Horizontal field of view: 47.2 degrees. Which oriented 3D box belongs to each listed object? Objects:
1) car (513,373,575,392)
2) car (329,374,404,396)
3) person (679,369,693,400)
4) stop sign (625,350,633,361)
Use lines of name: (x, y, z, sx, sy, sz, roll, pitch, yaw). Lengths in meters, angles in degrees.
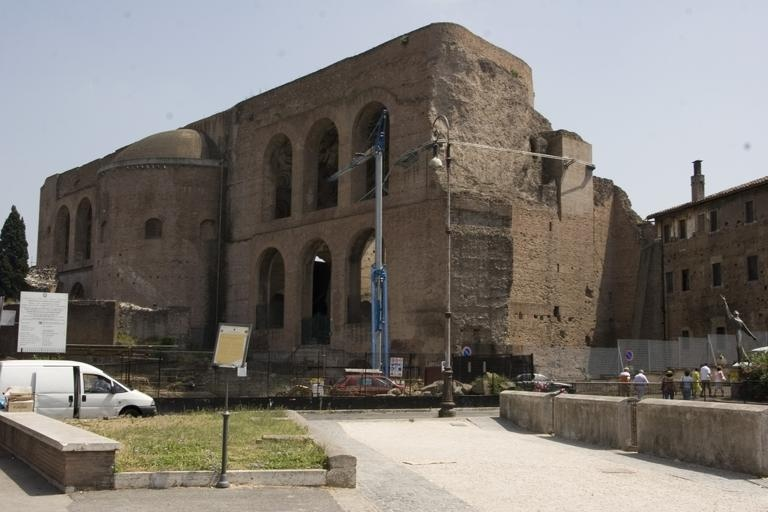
car: (8.343, 6.911, 47.787, 3.042, 0.910, 2.155, 1, -4, -20)
car: (-0.857, 6.424, 43.396, 2.458, 0.836, 1.417, -1, -6, -9)
person: (13.414, 5.688, 39.029, 0.423, 1.365, 1.500, -3, -14, 15)
stop sign: (15.979, 6.497, 57.131, 0.120, 0.512, 0.514, 7, -3, -38)
